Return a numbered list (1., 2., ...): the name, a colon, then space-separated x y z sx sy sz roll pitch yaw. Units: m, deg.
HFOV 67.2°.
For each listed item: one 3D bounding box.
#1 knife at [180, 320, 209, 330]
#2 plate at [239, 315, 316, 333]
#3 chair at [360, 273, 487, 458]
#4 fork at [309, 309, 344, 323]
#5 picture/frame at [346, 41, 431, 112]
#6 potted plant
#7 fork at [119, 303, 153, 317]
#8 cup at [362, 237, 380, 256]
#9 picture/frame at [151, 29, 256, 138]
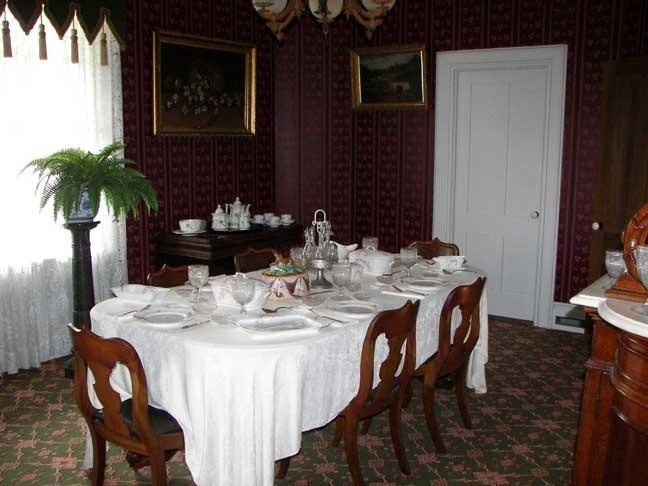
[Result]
1. knife: -0.678 0.421 2.590 0.039 0.023 0.156 10 4 24
2. plate: -0.253 0.423 2.596 0.207 0.027 0.155 -5 12 -25
3. chair: 0.724 0.672 3.762 0.993 1.675 0.892 7 12 35
4. fork: 0.012 0.406 2.713 0.059 0.015 0.293 -20 20 -28
5. picture/frame: 0.803 -1.992 5.791 0.753 0.634 0.060 3 14 22
6. potted plant: -1.818 -0.489 3.884 0.792 0.472 0.844 1 8 -2
7. fork: -1.068 0.381 2.789 0.039 0.033 0.285 -17 -3 13
8. cup: 0.365 0.024 3.915 0.116 0.150 0.122 0 7 0
9. picture/frame: -1.338 -1.730 5.272 0.085 0.969 1.209 6 8 38
